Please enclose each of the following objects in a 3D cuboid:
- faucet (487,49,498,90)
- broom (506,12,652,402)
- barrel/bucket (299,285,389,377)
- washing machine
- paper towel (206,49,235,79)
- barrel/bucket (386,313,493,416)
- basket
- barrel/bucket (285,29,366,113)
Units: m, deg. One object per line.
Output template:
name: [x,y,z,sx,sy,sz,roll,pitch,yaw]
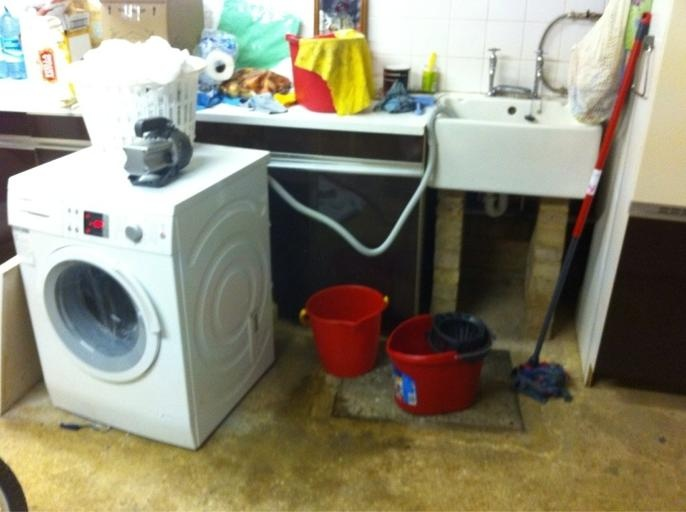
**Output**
faucet: [0.768,-0.959,2.955,0.060,0.216,0.118,8,28,12]
broom: [1.059,-0.091,2.519,0.433,1.819,0.383,13,22,9]
barrel/bucket: [0.035,0.325,2.764,0.442,0.339,0.381,12,35,23]
washing machine: [-0.825,0.108,2.472,0.845,1.083,0.724,12,29,19]
paper towel: [-0.632,-0.978,2.918,0.143,0.146,0.170,-5,29,-13]
barrel/bucket: [0.394,0.450,2.578,0.458,0.340,0.401,-5,27,-4]
basket: [-0.797,-0.607,2.335,0.465,0.325,0.469,-8,26,-15]
barrel/bucket: [-0.075,-0.848,2.788,0.396,0.347,0.371,0,33,0]
